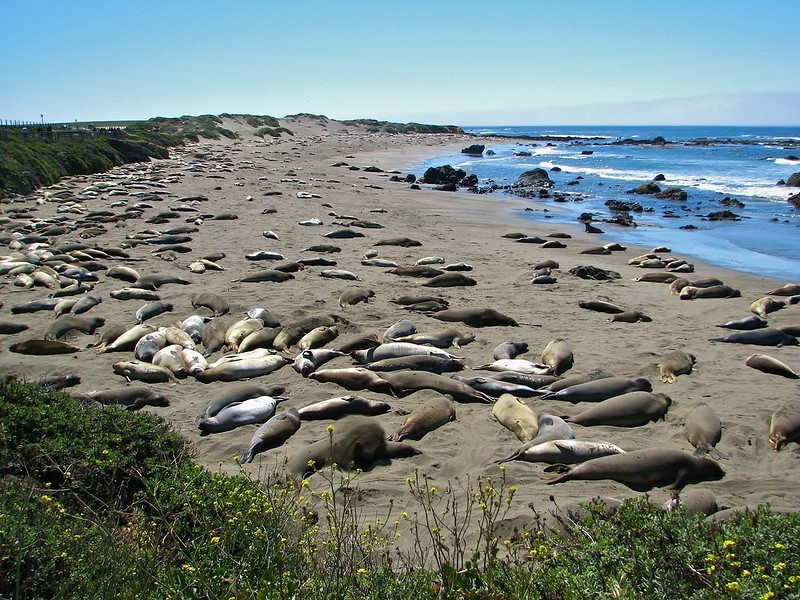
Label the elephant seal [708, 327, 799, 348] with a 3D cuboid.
[{"bbox_3d":[6.693,0.724,11.293,1.230,0.160,0.539,-5,-1,4],"label":"elephant seal"}]

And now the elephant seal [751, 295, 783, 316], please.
[{"bbox_3d":[7.949,0.149,13.017,0.862,0.185,0.417,-4,16,-32],"label":"elephant seal"}]
